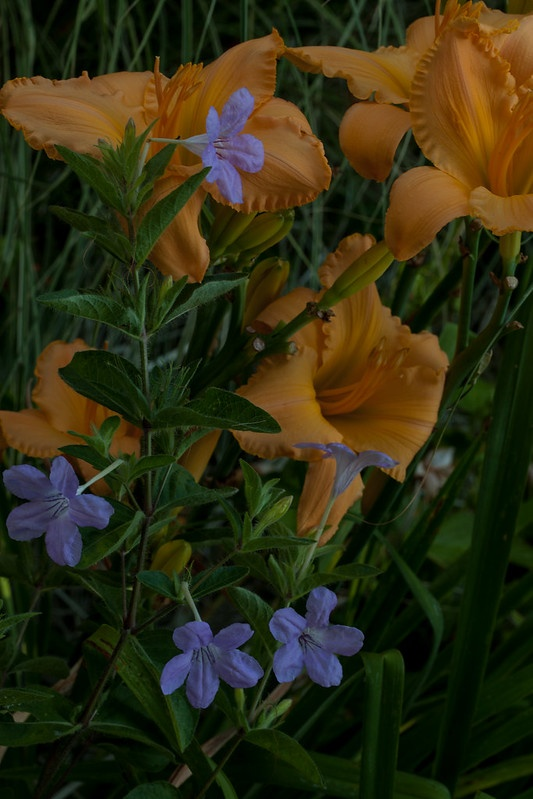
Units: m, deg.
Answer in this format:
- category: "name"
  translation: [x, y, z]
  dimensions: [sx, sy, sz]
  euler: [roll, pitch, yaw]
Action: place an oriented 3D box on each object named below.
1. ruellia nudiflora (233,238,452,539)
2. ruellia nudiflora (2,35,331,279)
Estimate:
- category: "ruellia nudiflora"
  translation: [0.048, -0.016, 0.455]
  dimensions: [0.127, 0.122, 0.198]
  euler: [19, 36, 19]
- category: "ruellia nudiflora"
  translation: [-0.054, -0.125, 0.379]
  dimensions: [0.181, 0.089, 0.176]
  euler: [15, 33, 1]
